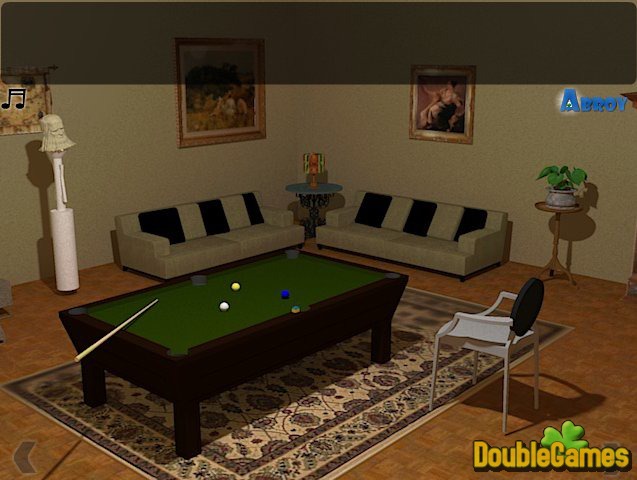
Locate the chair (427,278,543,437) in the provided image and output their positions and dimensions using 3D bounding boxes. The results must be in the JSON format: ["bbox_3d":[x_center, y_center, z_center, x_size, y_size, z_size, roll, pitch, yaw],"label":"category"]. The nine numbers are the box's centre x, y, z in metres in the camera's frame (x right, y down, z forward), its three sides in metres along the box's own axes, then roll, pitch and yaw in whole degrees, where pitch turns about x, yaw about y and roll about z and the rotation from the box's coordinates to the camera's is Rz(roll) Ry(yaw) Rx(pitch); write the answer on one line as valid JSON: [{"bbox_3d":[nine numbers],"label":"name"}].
[{"bbox_3d":[1.399,0.857,4.311,0.742,1.134,0.756,-11,13,-35],"label":"chair"}]

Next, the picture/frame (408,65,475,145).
[{"bbox_3d":[1.997,-2.191,8.222,1.267,1.321,0.107,11,18,34],"label":"picture/frame"}]

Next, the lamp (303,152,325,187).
[{"bbox_3d":[-0.068,-1.247,9.162,0.386,0.597,0.999,2,17,0],"label":"lamp"}]

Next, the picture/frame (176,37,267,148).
[{"bbox_3d":[-1.649,-2.455,8.450,0.138,1.796,1.923,12,16,43],"label":"picture/frame"}]

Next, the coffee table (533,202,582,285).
[{"bbox_3d":[3.334,-0.001,7.275,0.667,1.114,0.817,10,19,23],"label":"coffee table"}]

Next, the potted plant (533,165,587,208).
[{"bbox_3d":[3.329,-0.719,7.160,0.750,0.528,0.647,-2,11,-5],"label":"potted plant"}]
